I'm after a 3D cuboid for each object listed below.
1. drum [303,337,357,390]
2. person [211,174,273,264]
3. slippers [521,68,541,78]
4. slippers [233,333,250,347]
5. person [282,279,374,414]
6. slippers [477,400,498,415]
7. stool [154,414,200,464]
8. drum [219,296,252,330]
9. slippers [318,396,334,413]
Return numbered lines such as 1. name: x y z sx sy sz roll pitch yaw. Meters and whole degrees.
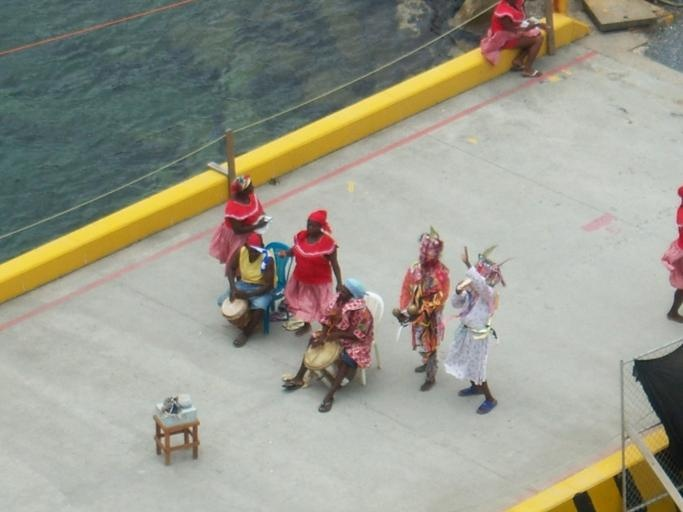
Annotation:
1. drum: -0.247 1.430 18.840 0.599 0.747 0.548 -4 75 13
2. person: -1.466 -0.508 19.934 0.892 1.148 0.545 16 59 5
3. slippers: 3.192 -3.072 23.471 0.314 0.108 0.141 2 47 3
4. slippers: -1.402 1.129 19.409 0.137 0.087 0.244 26 53 13
5. person: -0.164 1.231 18.839 1.190 1.469 0.906 -25 54 -38
6. slippers: 1.936 1.973 18.643 0.279 0.101 0.142 -30 41 -23
7. stool: -2.084 2.273 18.259 0.696 0.627 0.629 -5 28 -14
8. drum: -1.511 0.817 19.334 0.401 0.509 0.324 16 41 21
9. slippers: -0.218 1.938 18.603 0.126 0.062 0.240 6 38 29
